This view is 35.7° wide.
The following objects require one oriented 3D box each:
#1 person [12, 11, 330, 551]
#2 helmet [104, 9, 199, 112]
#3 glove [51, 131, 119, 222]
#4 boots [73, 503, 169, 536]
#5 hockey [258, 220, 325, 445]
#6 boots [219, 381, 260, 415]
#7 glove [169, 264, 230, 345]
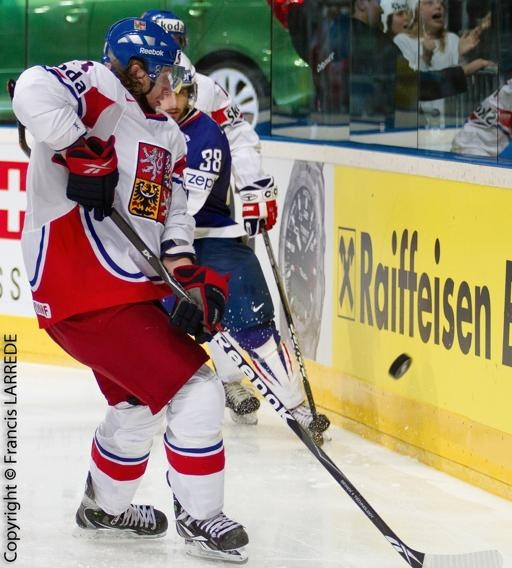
[{"bbox_3d":[-0.303,0.028,2.052,0.578,1.417,0.396,1,6,-1],"label":"person"},{"bbox_3d":[-0.277,-0.572,2.137,0.229,0.241,0.193,11,26,-17],"label":"helmet"},{"bbox_3d":[-0.376,-0.250,1.892,0.144,0.196,0.118,-4,8,-40],"label":"glove"},{"bbox_3d":[-0.361,0.663,2.235,0.276,0.104,0.133,2,-25,-7],"label":"boots"},{"bbox_3d":[0.156,0.213,3.365,0.076,0.937,0.135,-20,-9,8],"label":"hockey"},{"bbox_3d":[-0.071,0.489,3.472,0.119,0.077,0.200,0,19,-30],"label":"boots"},{"bbox_3d":[-0.145,0.050,2.003,0.080,0.137,0.191,-9,53,-3],"label":"glove"}]
